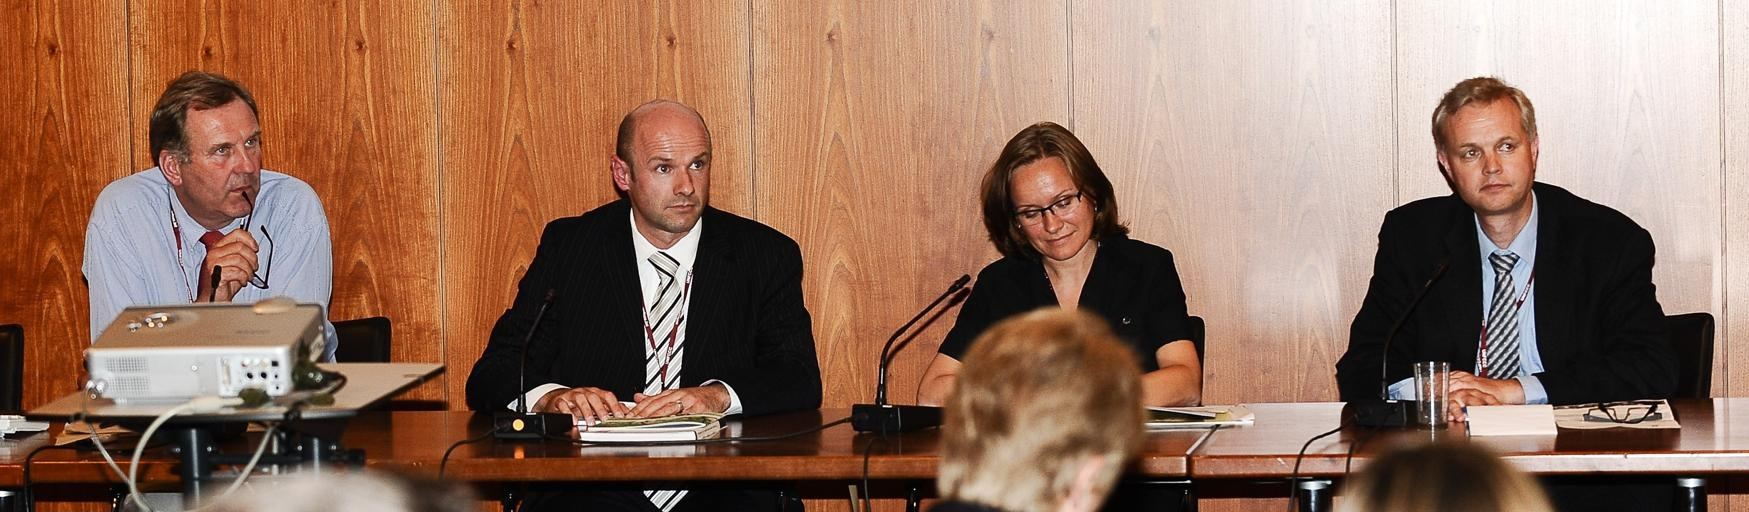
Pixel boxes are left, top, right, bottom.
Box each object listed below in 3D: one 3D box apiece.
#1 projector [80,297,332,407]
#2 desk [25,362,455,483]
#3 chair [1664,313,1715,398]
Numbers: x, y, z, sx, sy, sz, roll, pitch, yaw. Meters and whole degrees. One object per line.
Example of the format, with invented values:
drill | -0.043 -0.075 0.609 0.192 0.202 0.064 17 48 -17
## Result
projector | -4.890 0.690 9.483 1.739 0.727 0.190 -2 -4 1
desk | -4.745 1.257 9.612 3.398 0.990 1.781 1 1 13
chair | 6.630 0.789 10.450 0.283 0.662 0.264 -7 -5 33
